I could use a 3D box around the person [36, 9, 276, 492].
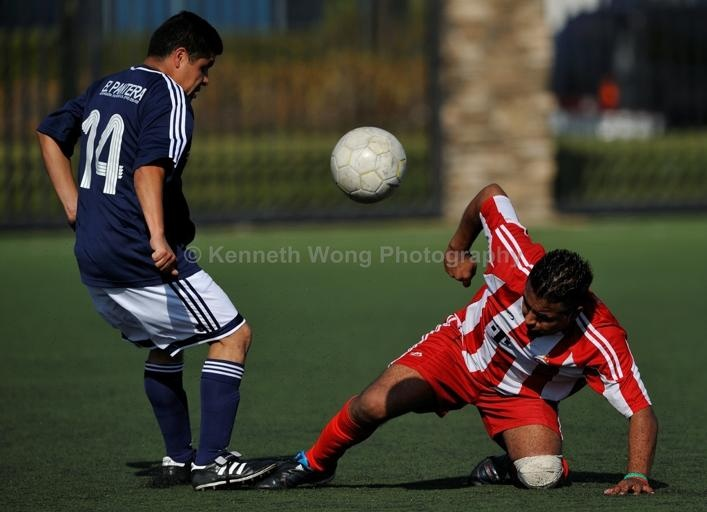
[{"bbox_3d":[-1.113,-0.033,6.691,1.448,2.556,0.729,15,21,39],"label":"person"}]

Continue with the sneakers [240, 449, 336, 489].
[{"bbox_3d":[-0.375,1.220,6.692,0.565,0.245,0.196,2,-6,-6],"label":"sneakers"}]

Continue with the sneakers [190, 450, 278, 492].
[{"bbox_3d":[-0.699,1.218,6.682,0.494,0.223,0.191,-13,-2,3],"label":"sneakers"}]

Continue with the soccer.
[{"bbox_3d":[0.108,-0.621,7.310,0.471,0.503,0.510,4,52,10],"label":"soccer"}]
